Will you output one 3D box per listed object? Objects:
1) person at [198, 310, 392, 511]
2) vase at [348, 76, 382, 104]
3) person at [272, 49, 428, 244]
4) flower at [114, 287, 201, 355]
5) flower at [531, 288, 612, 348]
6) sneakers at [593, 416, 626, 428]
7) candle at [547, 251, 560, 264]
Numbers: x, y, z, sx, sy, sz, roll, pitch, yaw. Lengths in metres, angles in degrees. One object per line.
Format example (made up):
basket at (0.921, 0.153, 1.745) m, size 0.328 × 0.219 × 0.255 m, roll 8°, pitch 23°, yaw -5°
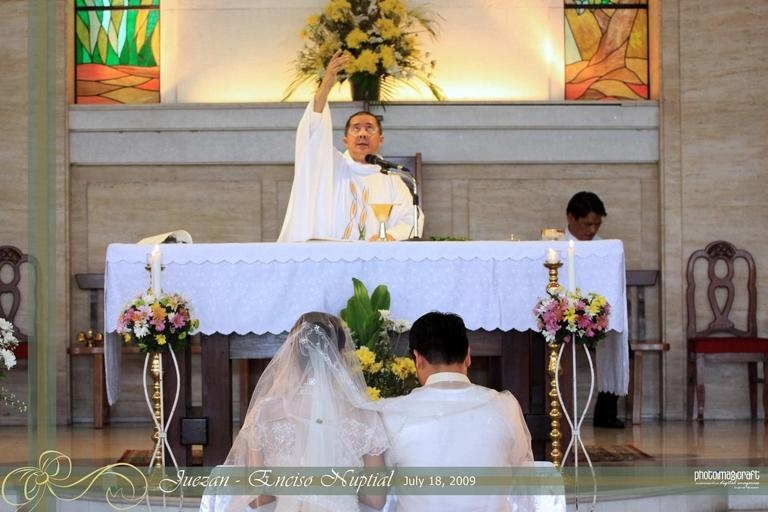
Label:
person at (-0.617, 1.187, 13.823) m, size 1.256 × 1.526 × 0.490 m, roll -2°, pitch -4°, yaw -3°
vase at (-0.165, -1.578, 17.025) m, size 0.279 × 0.186 × 0.250 m, roll 1°, pitch -1°, yaw -1°
person at (-0.283, -0.916, 15.911) m, size 1.141 × 1.606 × 0.939 m, roll 1°, pitch -5°, yaw -35°
flower at (-1.825, 0.485, 14.705) m, size 0.509 × 0.481 × 0.594 m, roll 0°, pitch 1°, yaw -6°
flower at (1.546, 0.478, 14.762) m, size 0.559 × 0.378 × 0.490 m, roll 4°, pitch -33°, yaw 0°
sneakers at (2.103, 1.533, 16.796) m, size 0.312 × 0.119 × 0.104 m, roll -4°, pitch -2°, yaw 16°
candle at (1.383, -0.004, 14.694) m, size 0.115 × 0.130 × 0.158 m, roll -2°, pitch -4°, yaw 5°
